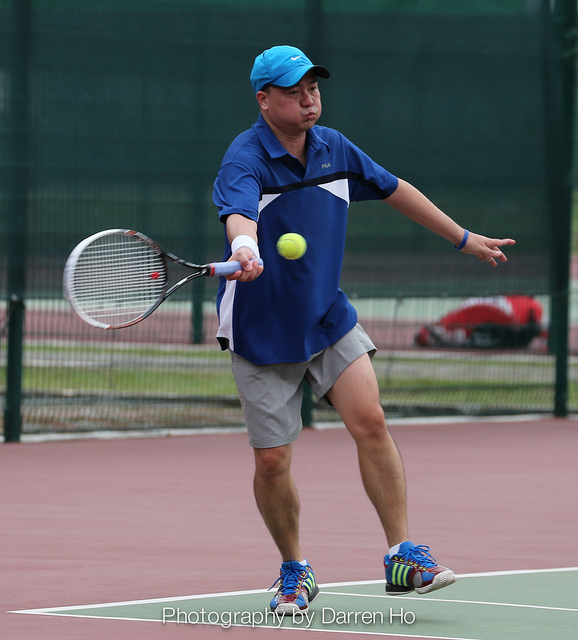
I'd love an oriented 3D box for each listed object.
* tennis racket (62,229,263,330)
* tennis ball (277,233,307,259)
[{"bbox_3d":[-0.386,-0.180,4.067,0.902,0.350,0.062,-9,16,-38],"label":"tennis racket"},{"bbox_3d":[0.009,-0.247,3.733,0.084,0.083,0.082,-16,15,4],"label":"tennis ball"}]
